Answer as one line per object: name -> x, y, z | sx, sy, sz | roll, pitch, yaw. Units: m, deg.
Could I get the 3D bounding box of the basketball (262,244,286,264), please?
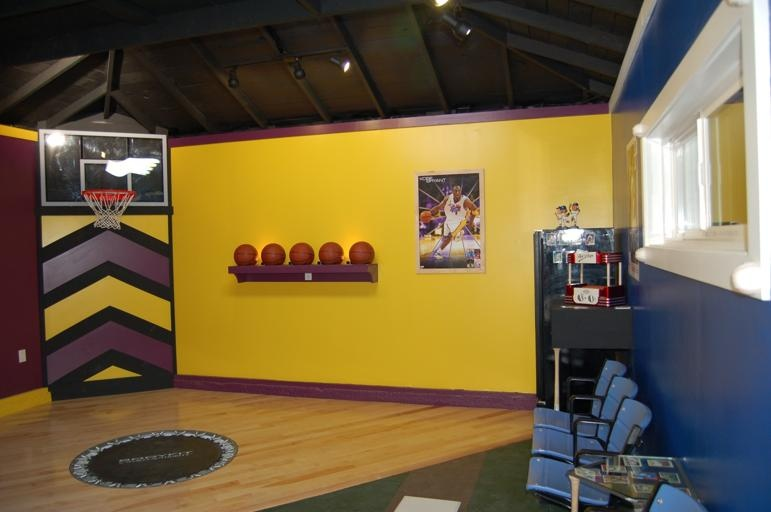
basketball -> -1.489, -0.043, 7.592 | 0.285, 0.275, 0.282 | 1, 17, 17

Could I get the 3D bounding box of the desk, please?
desk -> 1.983, 0.918, 5.587 | 0.862, 1.288, 0.913 | 0, 0, 13

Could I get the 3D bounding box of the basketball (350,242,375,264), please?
basketball -> -0.316, -0.036, 7.334 | 0.295, 0.288, 0.277 | 8, 17, -14

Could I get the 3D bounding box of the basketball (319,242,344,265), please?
basketball -> -0.702, -0.056, 7.462 | 0.292, 0.299, 0.289 | 1, 11, 7

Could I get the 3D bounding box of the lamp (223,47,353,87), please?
lamp -> -1.397, -2.731, 8.098 | 1.841, 0.417, 0.341 | -14, 20, -18

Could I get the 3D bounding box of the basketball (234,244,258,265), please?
basketball -> -1.913, -0.008, 7.632 | 0.318, 0.282, 0.269 | -4, 8, -14

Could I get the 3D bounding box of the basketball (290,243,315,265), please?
basketball -> -1.113, -0.015, 7.422 | 0.300, 0.286, 0.291 | -3, -1, -6
